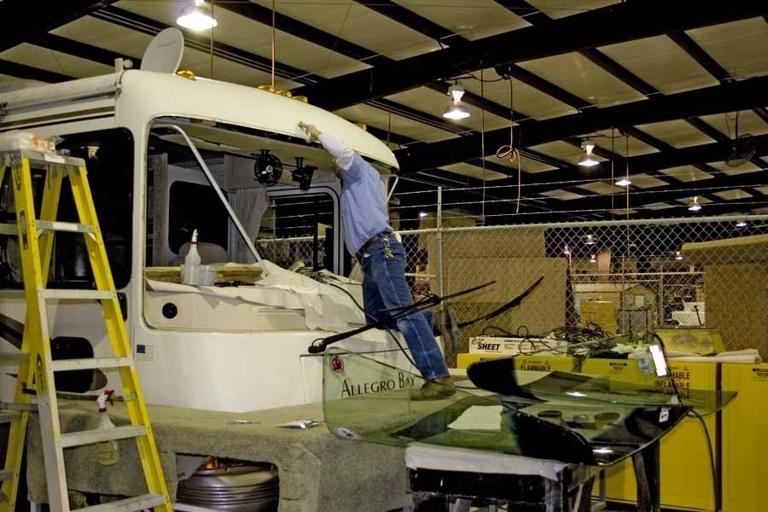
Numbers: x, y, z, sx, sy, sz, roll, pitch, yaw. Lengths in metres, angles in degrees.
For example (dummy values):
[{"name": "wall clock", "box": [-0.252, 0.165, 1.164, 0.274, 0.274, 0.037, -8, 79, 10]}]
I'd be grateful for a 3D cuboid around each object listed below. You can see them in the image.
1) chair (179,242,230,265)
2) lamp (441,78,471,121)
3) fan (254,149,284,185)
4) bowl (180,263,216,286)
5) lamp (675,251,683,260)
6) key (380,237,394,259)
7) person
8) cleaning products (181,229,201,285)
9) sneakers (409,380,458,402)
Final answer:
[{"name": "chair", "box": [-1.886, -0.036, 7.097, 0.477, 0.237, 0.392, 2, 8, -21]}, {"name": "lamp", "box": [1.128, -2.437, 10.440, 0.466, 0.511, 0.400, 3, 5, 27]}, {"name": "fan", "box": [-1.064, -0.835, 6.251, 0.232, 0.294, 0.348, 0, -5, -13]}, {"name": "bowl", "box": [-1.490, 0.151, 5.481, 0.181, 0.146, 0.205, 4, -7, -41]}, {"name": "lamp", "box": [6.316, -0.020, 14.491, 0.181, 0.223, 0.075, 0, -2, -5]}, {"name": "key", "box": [0.021, -0.059, 5.585, 0.076, 0.051, 0.186, -36, 34, 6]}, {"name": "person", "box": [-0.166, 0.072, 5.915, 1.093, 2.423, 0.991, 0, -20, -36]}, {"name": "cleaning products", "box": [-1.568, 0.014, 5.502, 0.147, 0.459, 0.440, 0, -5, -16]}, {"name": "sneakers", "box": [0.271, 0.734, 3.667, 0.271, 0.100, 0.097, -2, -6, 16]}]
